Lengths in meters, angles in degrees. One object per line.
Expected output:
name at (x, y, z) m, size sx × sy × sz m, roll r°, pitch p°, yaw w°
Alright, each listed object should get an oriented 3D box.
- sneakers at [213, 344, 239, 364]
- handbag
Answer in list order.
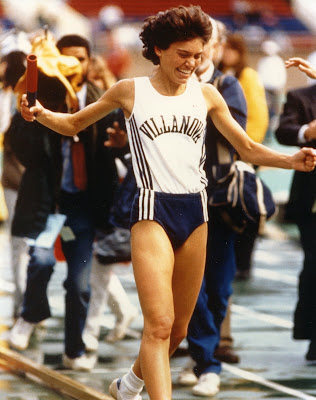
sneakers at (0.388, 0.877, 3.114) m, size 0.089 × 0.056 × 0.150 m, roll 0°, pitch -8°, yaw -38°
handbag at (0.455, -0.010, 3.138) m, size 0.345 × 0.187 × 0.346 m, roll -28°, pitch 77°, yaw -44°
